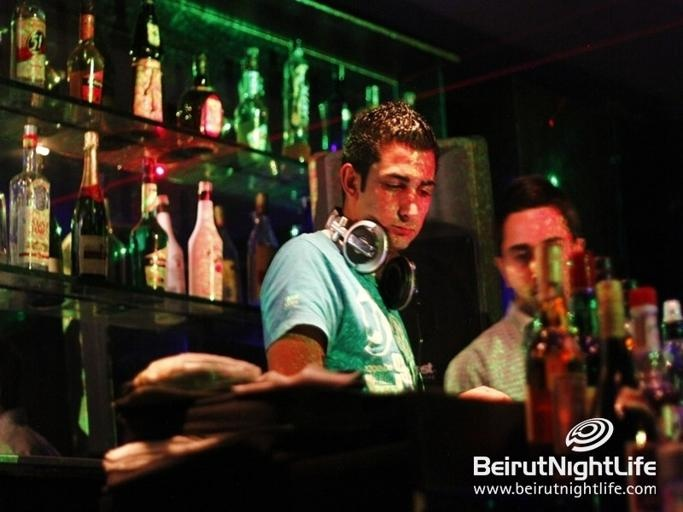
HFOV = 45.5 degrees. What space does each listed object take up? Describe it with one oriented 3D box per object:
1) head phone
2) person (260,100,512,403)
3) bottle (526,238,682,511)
[{"bbox_3d":[0.073,0.010,1.963,0.220,0.103,0.243,39,5,-31],"label":"head phone"},{"bbox_3d":[0.023,-0.032,1.924,0.396,0.731,0.722,1,3,7],"label":"person"},{"bbox_3d":[0.352,0.156,1.116,0.180,0.343,0.191,0,3,0],"label":"bottle"}]
